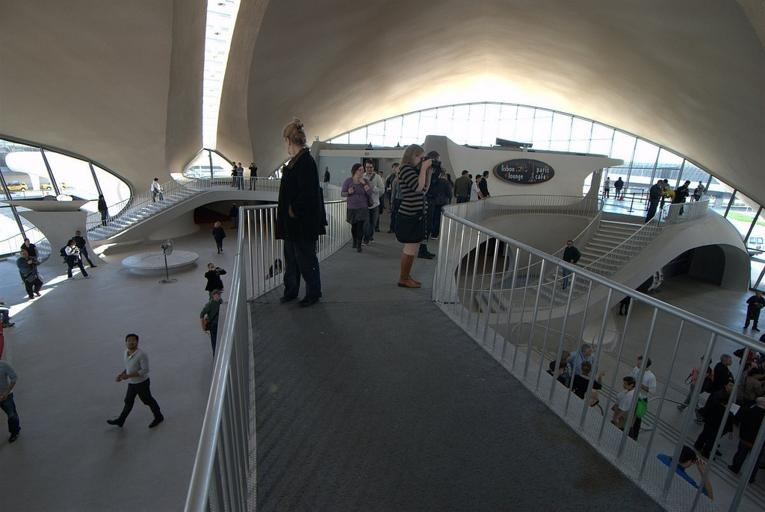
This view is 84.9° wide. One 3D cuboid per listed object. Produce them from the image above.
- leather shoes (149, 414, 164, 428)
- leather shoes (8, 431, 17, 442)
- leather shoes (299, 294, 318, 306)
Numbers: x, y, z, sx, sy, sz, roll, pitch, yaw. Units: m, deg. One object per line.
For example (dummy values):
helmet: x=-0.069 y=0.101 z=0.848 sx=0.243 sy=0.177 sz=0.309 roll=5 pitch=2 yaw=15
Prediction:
leather shoes: x=-5.318 y=3.894 z=9.878 sx=0.162 sy=0.293 sz=0.417 roll=0 pitch=1 yaw=40
leather shoes: x=-8.281 y=4.061 z=9.381 sx=0.087 sy=0.108 sz=0.257 roll=28 pitch=21 yaw=-19
leather shoes: x=-1.418 y=0.857 z=8.026 sx=0.152 sy=0.173 sz=0.418 roll=9 pitch=7 yaw=43
